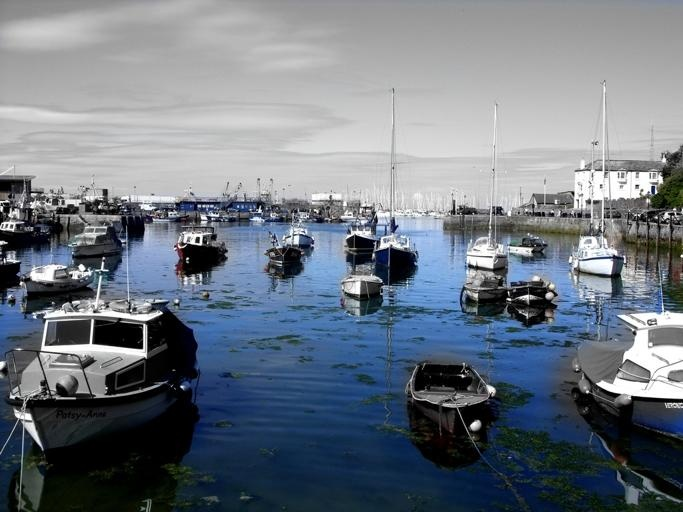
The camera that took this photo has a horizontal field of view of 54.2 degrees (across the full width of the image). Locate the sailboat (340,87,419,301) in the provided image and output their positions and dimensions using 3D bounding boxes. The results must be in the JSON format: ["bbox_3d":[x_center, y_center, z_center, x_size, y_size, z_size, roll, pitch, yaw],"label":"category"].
[{"bbox_3d":[3.902,0.143,67.174,6.406,23.360,6.308,0,8,4],"label":"sailboat"}]

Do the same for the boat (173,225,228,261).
[{"bbox_3d":[-15.708,-1.135,72.894,4.919,4.763,13.353,0,-1,3],"label":"boat"}]

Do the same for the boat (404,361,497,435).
[{"bbox_3d":[3.895,5.355,24.719,2.712,2.153,2.415,1,4,0],"label":"boat"}]
